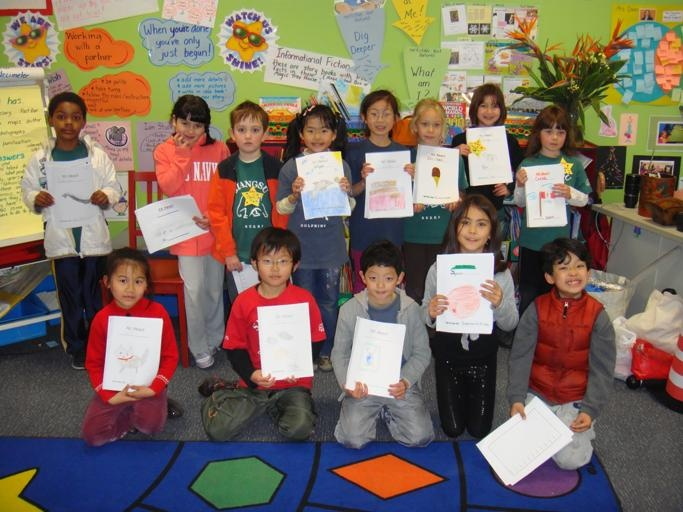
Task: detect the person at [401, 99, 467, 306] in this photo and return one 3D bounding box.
[{"bbox_3d":[0.558,-0.221,3.142,0.462,1.423,0.439,-3,25,0],"label":"person"}]

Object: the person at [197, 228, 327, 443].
[{"bbox_3d":[-0.413,0.390,2.653,0.627,0.977,0.498,-1,18,3],"label":"person"}]

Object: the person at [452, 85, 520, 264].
[{"bbox_3d":[0.975,-0.498,3.367,0.449,1.168,0.401,-7,29,10],"label":"person"}]

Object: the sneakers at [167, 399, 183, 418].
[{"bbox_3d":[-0.887,0.818,2.744,0.117,0.050,0.050,51,28,21],"label":"sneakers"}]

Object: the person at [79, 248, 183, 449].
[{"bbox_3d":[-1.073,0.482,2.601,0.474,0.948,0.516,14,17,40],"label":"person"}]

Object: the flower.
[{"bbox_3d":[1.619,-1.223,3.576,0.556,0.742,0.885,-14,18,-38],"label":"flower"}]

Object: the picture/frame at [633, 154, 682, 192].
[{"bbox_3d":[2.520,-0.669,4.123,0.405,0.264,0.065,-3,17,-3],"label":"picture/frame"}]

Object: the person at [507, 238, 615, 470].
[{"bbox_3d":[1.064,0.458,2.504,0.463,0.998,0.491,8,20,29],"label":"person"}]

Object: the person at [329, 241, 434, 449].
[{"bbox_3d":[0.214,0.426,2.637,0.531,0.938,0.530,-2,18,0],"label":"person"}]

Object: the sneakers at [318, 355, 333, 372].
[{"bbox_3d":[-0.097,0.663,3.151,0.064,0.071,0.173,0,-6,-6],"label":"sneakers"}]
